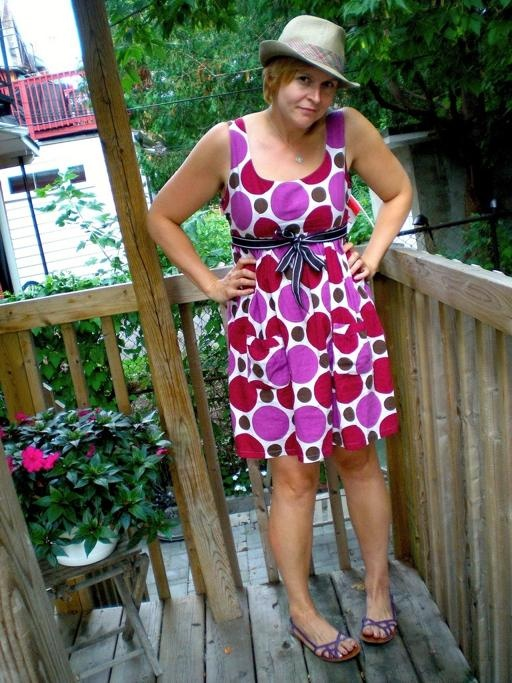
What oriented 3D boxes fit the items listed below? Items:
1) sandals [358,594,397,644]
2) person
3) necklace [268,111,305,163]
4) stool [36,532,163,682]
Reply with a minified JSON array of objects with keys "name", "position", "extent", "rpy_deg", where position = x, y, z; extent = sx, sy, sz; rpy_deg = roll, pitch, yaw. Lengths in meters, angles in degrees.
[{"name":"sandals","position":[0.349,0.795,1.604],"extent":[0.074,0.031,0.182],"rpy_deg":[1,24,21]},{"name":"person","position":[0.173,0.046,1.533],"extent":[0.717,1.659,0.471],"rpy_deg":[-14,18,-12]},{"name":"necklace","position":[0.072,-0.486,1.350],"extent":[0.045,0.118,0.086],"rpy_deg":[-32,2,10]},{"name":"stool","position":[-0.455,0.753,1.685],"extent":[0.365,0.420,0.340],"rpy_deg":[-11,8,-4]}]
